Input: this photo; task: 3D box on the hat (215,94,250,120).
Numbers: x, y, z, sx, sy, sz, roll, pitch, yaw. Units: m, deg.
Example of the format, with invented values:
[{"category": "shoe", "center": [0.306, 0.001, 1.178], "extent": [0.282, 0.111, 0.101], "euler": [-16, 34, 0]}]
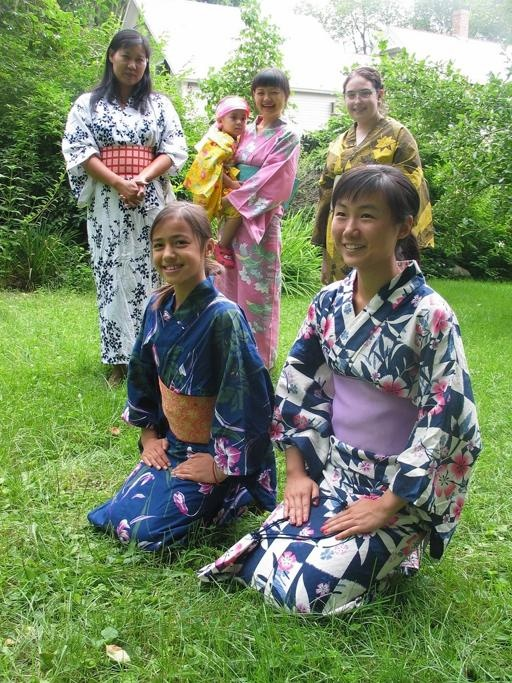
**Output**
[{"category": "hat", "center": [-0.139, -1.399, 3.900], "extent": [0.181, 0.120, 0.164], "euler": [1, 23, -13]}]

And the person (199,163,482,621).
[{"category": "person", "center": [0.318, 0.115, 1.909], "extent": [0.678, 1.259, 0.496], "euler": [8, 7, 23]}]
